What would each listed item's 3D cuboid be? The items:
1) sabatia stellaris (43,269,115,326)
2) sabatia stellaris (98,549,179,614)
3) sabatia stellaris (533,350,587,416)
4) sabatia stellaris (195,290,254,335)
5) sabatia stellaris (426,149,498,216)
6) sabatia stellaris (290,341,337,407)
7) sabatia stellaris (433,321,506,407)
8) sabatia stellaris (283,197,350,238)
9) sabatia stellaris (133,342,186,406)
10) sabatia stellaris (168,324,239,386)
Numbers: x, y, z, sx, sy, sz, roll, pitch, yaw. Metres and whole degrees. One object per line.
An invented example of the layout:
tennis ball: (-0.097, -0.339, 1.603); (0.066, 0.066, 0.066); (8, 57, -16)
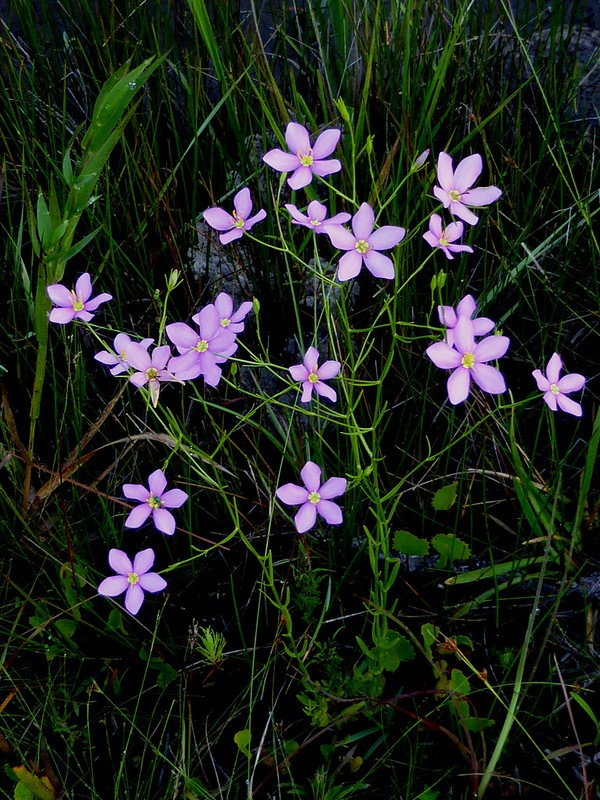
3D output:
sabatia stellaris: (-0.378, -0.158, 1.151); (0.088, 0.038, 0.126); (-21, 87, -15)
sabatia stellaris: (-0.251, 0.298, 1.083); (0.099, 0.124, 0.086); (7, 58, 19)
sabatia stellaris: (0.490, -0.027, 1.280); (0.096, 0.027, 0.099); (54, 45, -11)
sabatia stellaris: (-0.118, -0.136, 1.086); (0.064, 0.023, 0.098); (-3, 79, -21)
sabatia stellaris: (0.248, -0.323, 1.061); (0.086, 0.050, 0.131); (10, 83, -20)
sabatia stellaris: (0.018, -0.034, 1.041); (0.060, 0.021, 0.098); (8, 83, -31)
sabatia stellaris: (0.234, -0.061, 0.922); (0.081, 0.097, 0.030); (16, 98, -13)
sabatia stellaris: (0.025, -0.270, 1.025); (0.070, 0.032, 0.091); (-11, 45, -19)
sabatia stellaris: (-0.225, -0.046, 1.066); (0.102, 0.104, 0.076); (-7, 86, -23)
sabatia stellaris: (-0.143, -0.087, 1.050); (0.072, 0.040, 0.119); (0, 95, 13)
